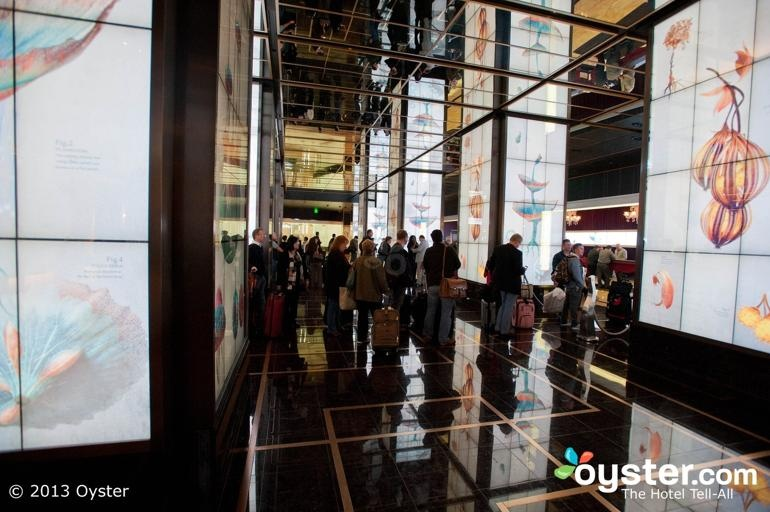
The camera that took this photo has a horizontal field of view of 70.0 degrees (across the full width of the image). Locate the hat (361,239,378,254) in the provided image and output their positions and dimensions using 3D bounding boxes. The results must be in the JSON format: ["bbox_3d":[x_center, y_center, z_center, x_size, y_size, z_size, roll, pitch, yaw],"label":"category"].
[{"bbox_3d":[-0.301,-0.132,9.853,0.215,0.265,0.243,3,-34,-1],"label":"hat"}]

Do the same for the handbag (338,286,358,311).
[{"bbox_3d":[-0.660,0.779,9.943,0.397,0.488,0.200,4,11,21],"label":"handbag"}]

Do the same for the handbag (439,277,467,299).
[{"bbox_3d":[1.223,0.593,9.803,0.456,0.376,0.326,2,-5,-16],"label":"handbag"}]

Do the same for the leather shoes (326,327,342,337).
[{"bbox_3d":[-0.996,1.511,10.761,0.340,0.259,0.120,-1,0,-2],"label":"leather shoes"}]

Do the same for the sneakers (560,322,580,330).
[{"bbox_3d":[3.913,1.509,11.658,0.379,0.174,0.135,1,0,11],"label":"sneakers"}]

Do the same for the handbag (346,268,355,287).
[{"bbox_3d":[-0.615,0.402,9.792,0.091,0.291,0.207,7,-6,-14],"label":"handbag"}]

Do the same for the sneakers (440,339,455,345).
[{"bbox_3d":[1.151,1.615,10.177,0.253,0.114,0.105,-2,2,-12],"label":"sneakers"}]

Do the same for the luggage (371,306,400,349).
[{"bbox_3d":[-0.025,1.228,9.629,0.546,1.060,0.721,0,-4,2],"label":"luggage"}]

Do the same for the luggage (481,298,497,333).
[{"bbox_3d":[2.120,1.215,11.277,0.270,0.515,0.297,2,6,0],"label":"luggage"}]
